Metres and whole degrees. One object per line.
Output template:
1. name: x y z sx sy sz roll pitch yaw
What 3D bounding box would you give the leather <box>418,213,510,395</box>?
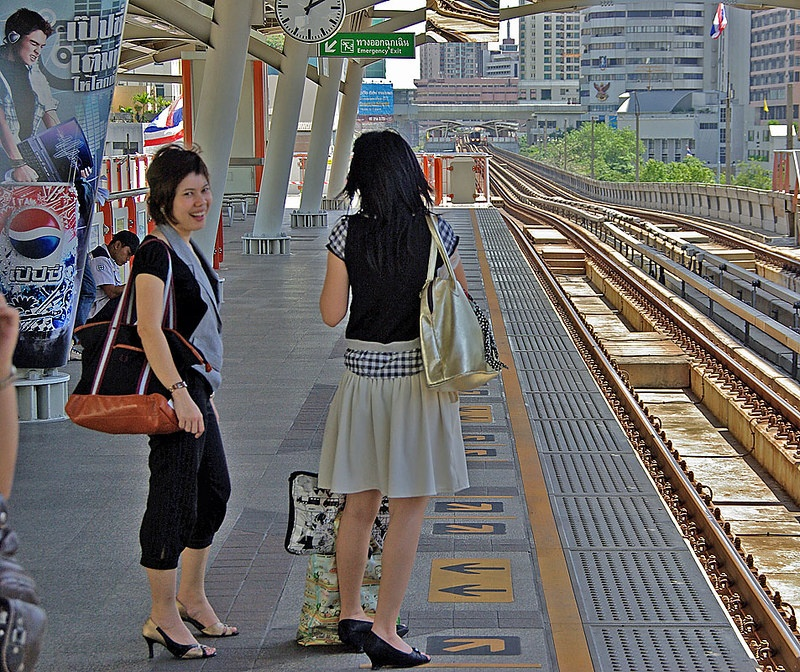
1. leather: 0.240 -0.140 2.799 0.325 0.702 0.272 0 7 7

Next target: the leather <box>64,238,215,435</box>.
1. leather: -1.073 0.006 2.860 0.572 0.801 0.379 -3 7 -17

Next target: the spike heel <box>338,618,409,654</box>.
1. spike heel: -0.125 1.248 3.037 0.325 0.141 0.112 -5 5 -26

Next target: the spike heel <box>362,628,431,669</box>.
1. spike heel: -0.032 1.267 2.921 0.334 0.181 0.113 -2 -1 -13

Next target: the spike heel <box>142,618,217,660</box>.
1. spike heel: -0.923 1.271 3.003 0.379 0.209 0.130 0 -3 0

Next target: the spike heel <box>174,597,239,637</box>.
1. spike heel: -0.850 1.284 3.208 0.350 0.158 0.119 3 0 3
